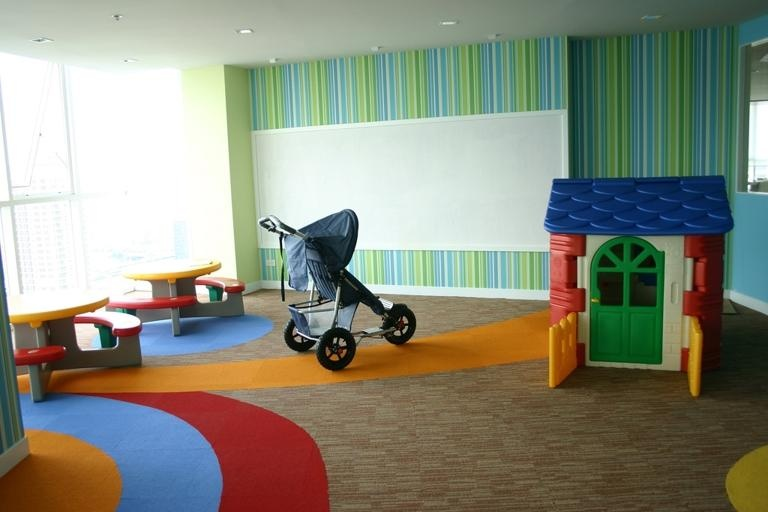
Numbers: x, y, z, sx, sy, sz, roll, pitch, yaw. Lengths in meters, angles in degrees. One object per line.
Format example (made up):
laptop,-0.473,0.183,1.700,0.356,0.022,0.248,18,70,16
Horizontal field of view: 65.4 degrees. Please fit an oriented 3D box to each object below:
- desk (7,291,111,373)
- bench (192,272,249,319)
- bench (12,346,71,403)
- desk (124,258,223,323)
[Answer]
desk,-3.558,0.792,6.726,0.996,0.330,0.974,-9,15,-38
bench,-2.357,0.616,8.669,0.585,0.274,0.752,-2,8,-13
bench,-3.617,1.190,6.387,0.667,0.531,0.517,-1,1,11
desk,-2.882,0.398,8.239,1.025,0.417,0.975,-2,11,-1
